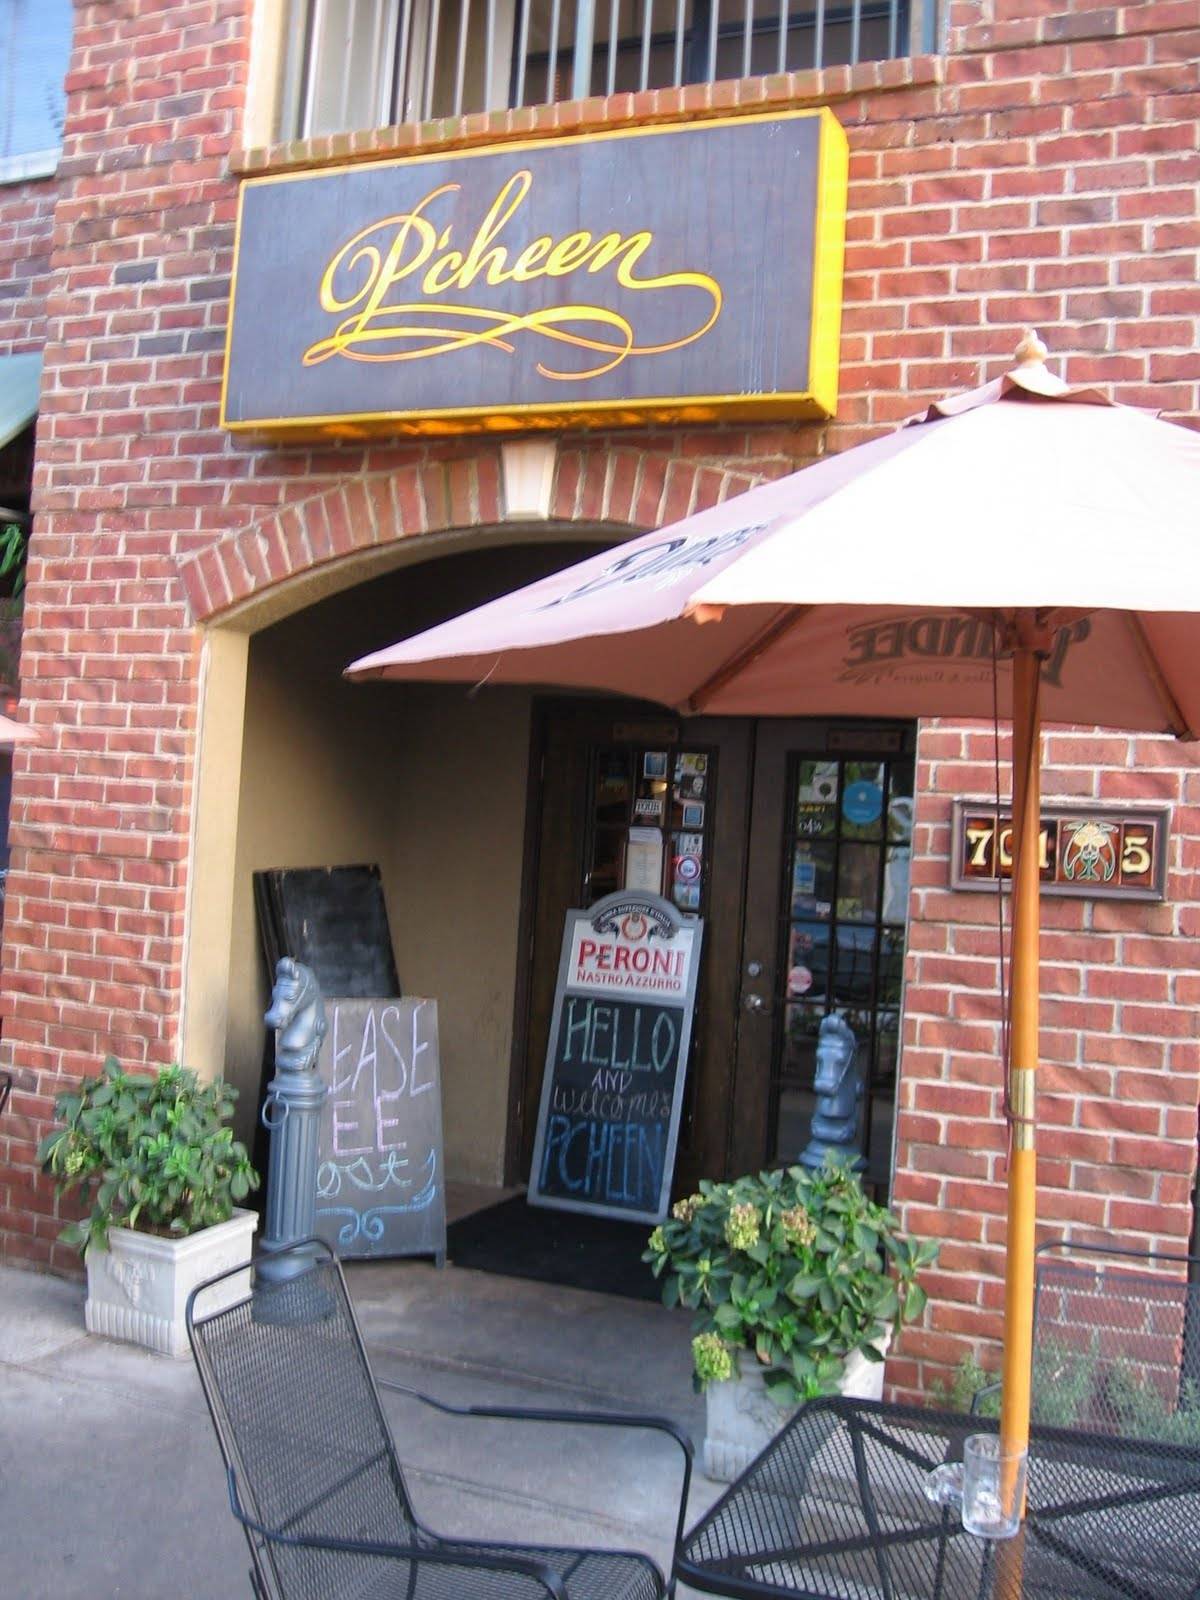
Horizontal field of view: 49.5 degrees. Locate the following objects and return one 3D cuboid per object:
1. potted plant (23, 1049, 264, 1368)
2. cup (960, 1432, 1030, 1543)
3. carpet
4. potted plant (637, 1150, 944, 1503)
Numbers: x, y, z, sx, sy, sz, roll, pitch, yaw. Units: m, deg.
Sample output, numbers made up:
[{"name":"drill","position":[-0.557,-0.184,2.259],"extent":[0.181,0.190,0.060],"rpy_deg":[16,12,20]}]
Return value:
[{"name":"potted plant","position":[-1.586,1.428,4.445],"extent":[0.596,0.830,0.761],"rpy_deg":[6,-11,-7]},{"name":"cup","position":[0.501,0.893,1.662],"extent":[0.075,0.144,0.095],"rpy_deg":[2,-4,17]},{"name":"carpet","position":[-0.178,1.796,5.121],"extent":[0.880,0.033,0.810],"rpy_deg":[-1,-1,37]},{"name":"potted plant","position":[0.456,1.214,3.479],"extent":[0.868,0.940,0.746],"rpy_deg":[0,-5,7]}]
